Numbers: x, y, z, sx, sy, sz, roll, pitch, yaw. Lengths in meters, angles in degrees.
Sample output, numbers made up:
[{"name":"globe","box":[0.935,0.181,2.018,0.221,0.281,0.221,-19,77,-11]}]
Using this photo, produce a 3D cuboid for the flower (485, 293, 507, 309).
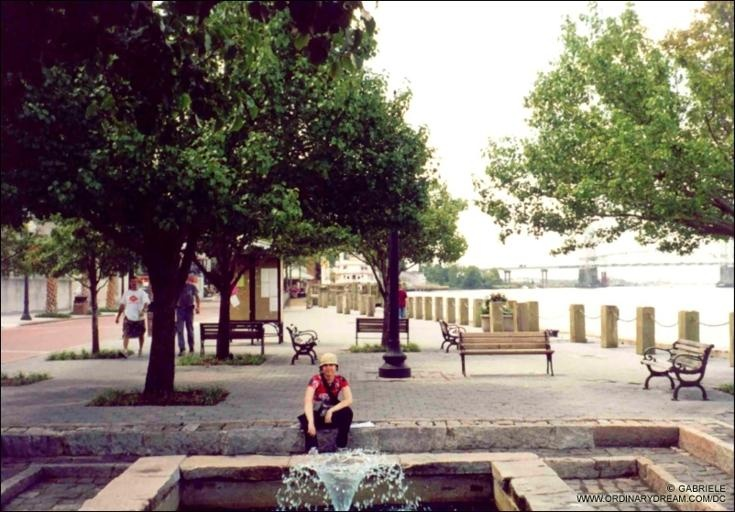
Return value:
[{"name":"flower","box":[4.361,1.477,23.073,0.534,0.432,0.573,0,-1,19]}]

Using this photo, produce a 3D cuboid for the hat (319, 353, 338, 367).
[{"name":"hat","box":[-0.615,1.613,10.727,0.223,0.163,0.298,0,-13,-3]}]

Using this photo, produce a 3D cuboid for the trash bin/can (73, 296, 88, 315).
[{"name":"trash bin/can","box":[-17.330,2.888,40.658,1.021,1.330,1.020,2,-9,-17]}]

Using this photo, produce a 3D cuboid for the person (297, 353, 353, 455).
[{"name":"person","box":[-0.695,2.435,11.082,0.822,1.018,1.690,3,35,-2]}]

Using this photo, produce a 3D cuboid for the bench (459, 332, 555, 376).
[{"name":"bench","box":[3.243,2.285,16.018,2.121,1.037,0.787,-2,-8,10]}]
